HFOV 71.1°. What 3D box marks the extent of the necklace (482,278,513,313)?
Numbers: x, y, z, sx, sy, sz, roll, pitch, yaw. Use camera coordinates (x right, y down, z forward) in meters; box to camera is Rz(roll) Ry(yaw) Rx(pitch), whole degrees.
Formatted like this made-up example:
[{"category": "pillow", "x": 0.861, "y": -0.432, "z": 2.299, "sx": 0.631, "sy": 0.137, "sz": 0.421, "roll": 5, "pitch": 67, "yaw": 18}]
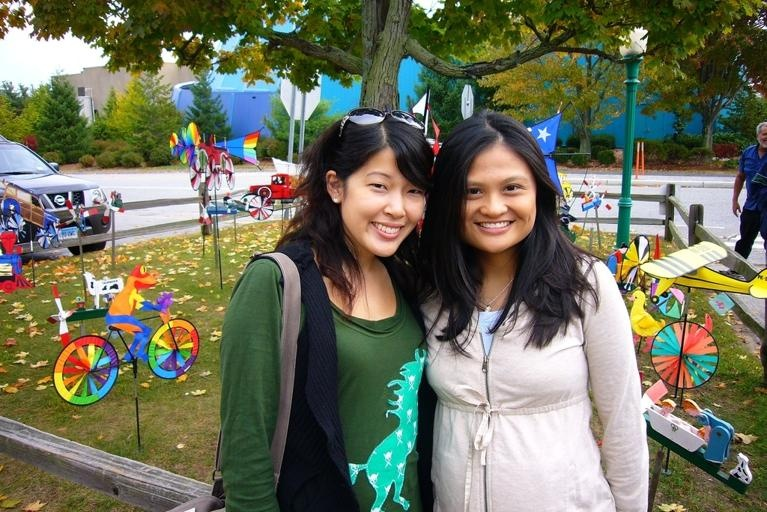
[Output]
[{"category": "necklace", "x": 0.641, "y": 0.230, "z": 3.070, "sx": 0.248, "sy": 0.093, "sz": 0.061, "roll": -46, "pitch": 16, "yaw": -8}]
